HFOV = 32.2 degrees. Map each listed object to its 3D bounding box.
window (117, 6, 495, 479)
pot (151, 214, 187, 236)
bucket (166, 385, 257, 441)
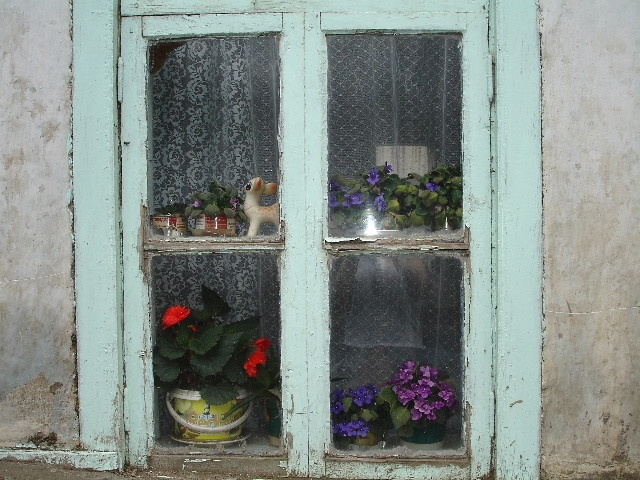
[{"bbox_3d":[-0.012,0.036,4.309,1.953,2.165,0.161,0,-2,-2],"label":"window"},{"bbox_3d":[-0.589,-0.065,4.330,0.096,0.072,0.101,2,2,0],"label":"pot"},{"bbox_3d":[-0.440,0.667,4.355,0.241,0.112,0.236,1,-8,0],"label":"bucket"}]
